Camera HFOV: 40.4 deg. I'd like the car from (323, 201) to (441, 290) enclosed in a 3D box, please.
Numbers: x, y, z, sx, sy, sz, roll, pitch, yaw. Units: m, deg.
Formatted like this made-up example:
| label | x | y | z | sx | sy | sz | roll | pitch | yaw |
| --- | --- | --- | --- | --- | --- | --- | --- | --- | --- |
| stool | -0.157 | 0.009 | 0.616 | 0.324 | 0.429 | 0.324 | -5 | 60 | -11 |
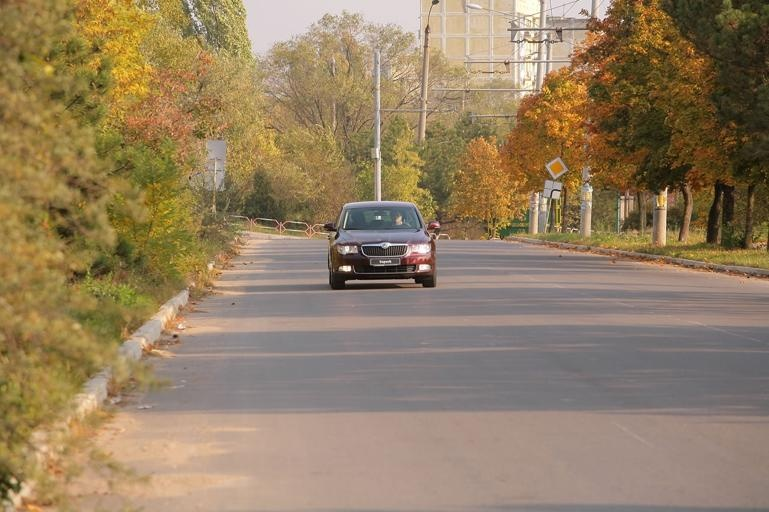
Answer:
| label | x | y | z | sx | sy | sz | roll | pitch | yaw |
| --- | --- | --- | --- | --- | --- | --- | --- | --- | --- |
| car | -0.104 | -0.247 | 24.734 | 2.479 | 2.037 | 2.275 | -2 | 5 | -22 |
